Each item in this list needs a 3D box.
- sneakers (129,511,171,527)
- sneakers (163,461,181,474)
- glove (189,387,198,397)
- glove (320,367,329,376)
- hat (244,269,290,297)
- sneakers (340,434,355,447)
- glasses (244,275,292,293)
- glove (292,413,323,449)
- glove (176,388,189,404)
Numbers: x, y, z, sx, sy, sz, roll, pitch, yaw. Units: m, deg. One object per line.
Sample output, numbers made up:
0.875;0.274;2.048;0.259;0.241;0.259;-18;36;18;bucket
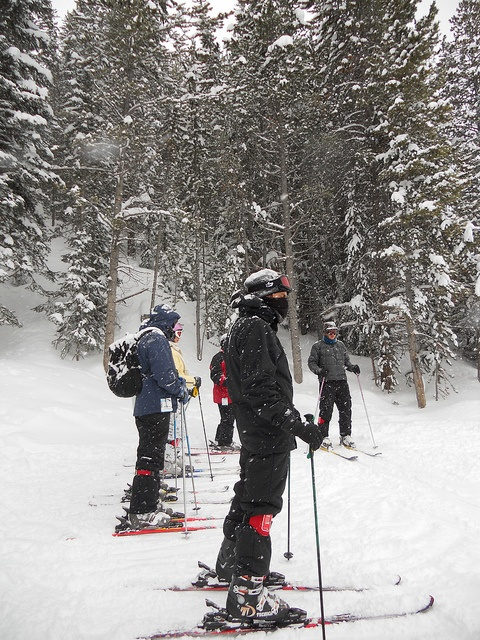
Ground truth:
-0.894;2.027;5.510;0.370;0.179;0.161;-3;-7;-13;sneakers
-0.941;2.083;7.620;0.234;0.132;0.307;6;-12;-7;sneakers
-0.647;1.017;7.689;0.101;0.147;0.147;8;-23;-4;glove
1.356;0.830;8.746;0.086;0.112;0.116;8;-23;6;glove
0.232;-0.364;4.543;0.313;0.208;0.228;-13;17;-16;hat
1.795;2.059;9.065;0.146;0.200;0.181;10;-48;-9;sneakers
0.234;-0.311;4.540;0.242;0.104;0.185;-6;4;-8;glasses
0.515;0.889;4.213;0.272;0.272;0.212;1;-5;-10;glove
-0.625;0.854;6.071;0.071;0.183;0.122;2;7;-35;glove
